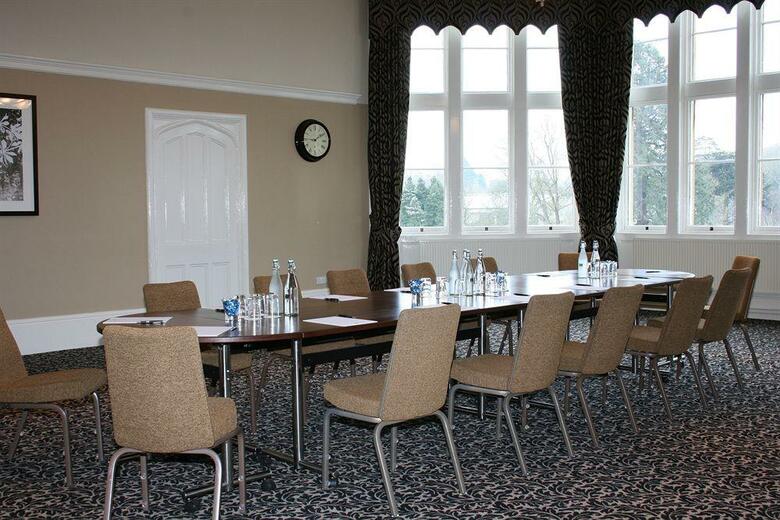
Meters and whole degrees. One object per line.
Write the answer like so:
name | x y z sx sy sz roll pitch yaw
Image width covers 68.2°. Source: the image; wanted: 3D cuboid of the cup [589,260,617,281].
cup | 2.195 0.097 5.962 0.337 0.211 0.180 -2 2 -40

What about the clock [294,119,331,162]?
clock | -1.180 -1.834 8.800 0.140 0.599 0.595 2 20 41
